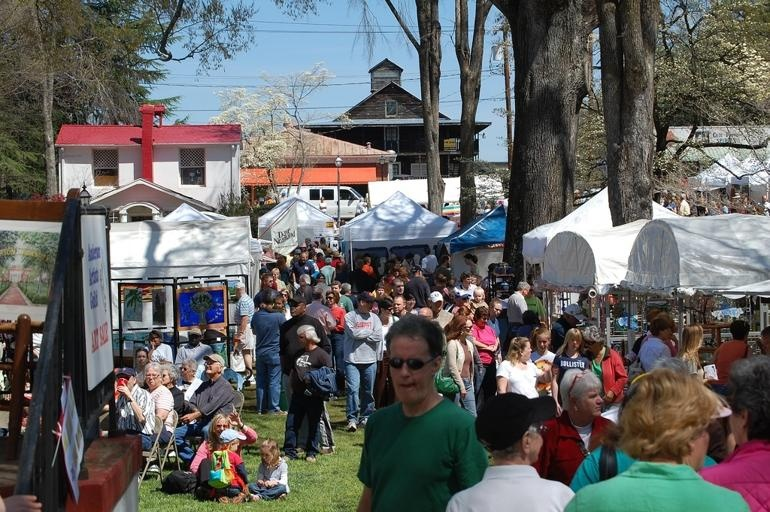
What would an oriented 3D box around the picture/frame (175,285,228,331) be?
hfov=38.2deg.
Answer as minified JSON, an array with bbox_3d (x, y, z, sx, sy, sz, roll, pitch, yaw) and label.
[{"bbox_3d":[-3.674,1.045,21.965,0.857,0.747,0.087,-1,-6,-28],"label":"picture/frame"}]

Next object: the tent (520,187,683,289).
[{"bbox_3d":[4.110,-0.103,22.483,2.442,1.451,2.453,0,-1,-1],"label":"tent"}]

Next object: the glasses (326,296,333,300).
[{"bbox_3d":[-1.139,0.856,22.801,0.090,0.033,0.084,11,-13,-42],"label":"glasses"}]

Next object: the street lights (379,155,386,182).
[{"bbox_3d":[-0.190,-5.728,71.371,0.302,1.456,0.741,1,-3,0],"label":"street lights"}]

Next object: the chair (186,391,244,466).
[{"bbox_3d":[-2.734,2.713,18.829,0.621,1.077,0.773,0,-6,18],"label":"chair"}]

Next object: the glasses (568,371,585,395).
[{"bbox_3d":[2.503,1.698,14.760,0.075,0.276,0.218,26,11,20],"label":"glasses"}]

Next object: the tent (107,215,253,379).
[{"bbox_3d":[-4.389,0.774,23.566,2.951,2.370,2.922,-2,-2,-6],"label":"tent"}]

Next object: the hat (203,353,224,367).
[{"bbox_3d":[-2.902,1.768,19.121,0.239,0.180,0.360,6,-20,37],"label":"hat"}]

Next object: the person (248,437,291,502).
[{"bbox_3d":[-1.870,3.372,17.628,0.672,0.915,0.751,1,-4,4],"label":"person"}]

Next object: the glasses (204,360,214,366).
[{"bbox_3d":[-2.979,1.832,18.882,0.085,0.064,0.111,8,-23,11],"label":"glasses"}]

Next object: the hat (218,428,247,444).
[{"bbox_3d":[-2.415,2.876,17.730,0.307,0.114,0.190,-6,11,-43],"label":"hat"}]

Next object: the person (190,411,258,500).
[{"bbox_3d":[-2.647,3.248,17.942,1.132,1.637,0.826,0,-7,15],"label":"person"}]

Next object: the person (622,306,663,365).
[{"bbox_3d":[4.482,1.396,19.338,0.455,1.312,0.541,-4,25,-32],"label":"person"}]

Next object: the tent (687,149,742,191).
[{"bbox_3d":[12.307,-2.995,41.141,1.956,0.897,2.038,-1,6,7],"label":"tent"}]

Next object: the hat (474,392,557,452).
[{"bbox_3d":[1.479,1.840,12.579,0.784,0.420,0.536,-35,38,-12],"label":"hat"}]

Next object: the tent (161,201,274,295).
[{"bbox_3d":[-4.084,-0.164,26.978,2.973,1.643,3.035,-1,0,-11],"label":"tent"}]

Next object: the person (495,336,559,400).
[{"bbox_3d":[2.192,1.887,18.302,0.971,1.399,0.997,1,1,41],"label":"person"}]

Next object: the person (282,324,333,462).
[{"bbox_3d":[-1.280,2.334,18.850,0.672,2.282,0.740,2,-4,-21],"label":"person"}]

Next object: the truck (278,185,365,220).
[{"bbox_3d":[-3.198,-2.946,57.614,4.336,2.120,2.613,-1,4,4],"label":"truck"}]

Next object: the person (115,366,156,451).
[{"bbox_3d":[-4.067,2.538,18.112,0.713,1.283,0.564,2,-4,-27],"label":"person"}]

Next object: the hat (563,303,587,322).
[{"bbox_3d":[3.544,1.130,21.050,0.447,0.262,0.341,17,19,18],"label":"hat"}]

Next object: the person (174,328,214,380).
[{"bbox_3d":[-3.523,1.829,20.550,0.717,1.186,0.446,-1,-8,-3],"label":"person"}]

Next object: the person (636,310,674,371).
[{"bbox_3d":[4.374,1.377,17.946,0.541,0.959,0.848,0,-3,14],"label":"person"}]

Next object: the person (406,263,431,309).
[{"bbox_3d":[0.725,0.699,24.551,0.678,1.069,0.630,6,20,21],"label":"person"}]
